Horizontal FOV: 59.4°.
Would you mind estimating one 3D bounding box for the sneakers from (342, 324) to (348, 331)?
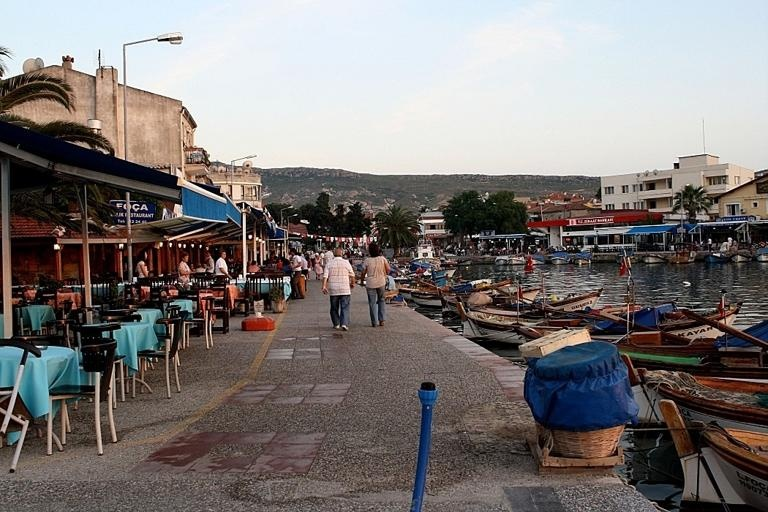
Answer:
[{"bbox_3d":[-1.090,1.943,18.461,0.124,0.118,0.302,-2,-15,4],"label":"sneakers"}]

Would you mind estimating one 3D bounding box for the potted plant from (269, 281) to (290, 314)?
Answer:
[{"bbox_3d":[-3.783,1.509,24.224,0.831,1.001,0.720,-2,-6,7],"label":"potted plant"}]

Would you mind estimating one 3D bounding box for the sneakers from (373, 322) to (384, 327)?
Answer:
[{"bbox_3d":[-0.166,1.975,19.591,0.128,0.133,0.344,1,-13,-12],"label":"sneakers"}]
